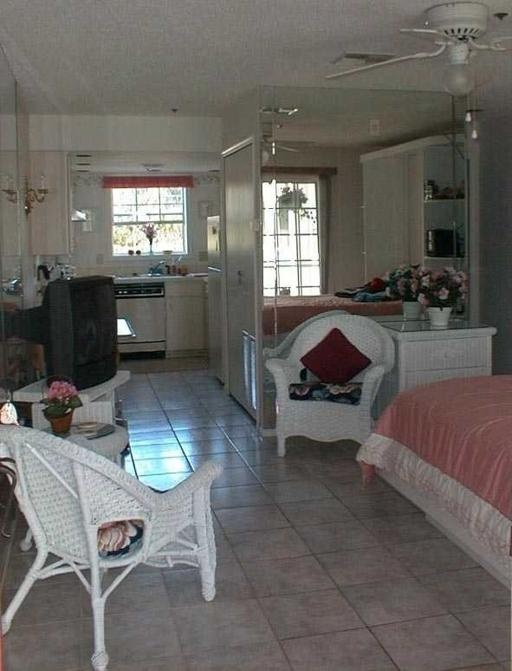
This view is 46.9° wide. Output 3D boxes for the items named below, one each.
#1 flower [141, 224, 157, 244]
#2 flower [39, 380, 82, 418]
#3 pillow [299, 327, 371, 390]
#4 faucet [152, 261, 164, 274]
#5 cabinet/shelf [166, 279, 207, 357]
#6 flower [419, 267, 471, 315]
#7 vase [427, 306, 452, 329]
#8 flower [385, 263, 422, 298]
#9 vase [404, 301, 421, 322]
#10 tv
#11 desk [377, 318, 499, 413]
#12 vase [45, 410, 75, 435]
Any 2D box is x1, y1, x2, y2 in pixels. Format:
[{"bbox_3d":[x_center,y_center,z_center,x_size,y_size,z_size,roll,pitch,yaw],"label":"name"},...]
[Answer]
[{"bbox_3d":[-1.446,-1.387,8.097,0.178,0.271,0.066,-2,6,3],"label":"flower"},{"bbox_3d":[-0.832,0.274,2.541,0.160,0.161,0.167,1,3,-7],"label":"flower"},{"bbox_3d":[0.475,0.121,3.591,0.352,0.354,0.096,-43,-16,7],"label":"pillow"},{"bbox_3d":[-1.331,-0.899,7.985,0.188,0.144,0.091,-2,4,-10],"label":"faucet"},{"bbox_3d":[-0.875,-0.226,7.412,0.514,0.984,0.228,-2,4,-7],"label":"cabinet/shelf"},{"bbox_3d":[1.174,-0.283,3.813,0.341,0.263,0.314,0,5,-1],"label":"flower"},{"bbox_3d":[1.195,-0.114,3.836,0.151,0.103,0.143,0,-2,4],"label":"vase"},{"bbox_3d":[1.009,-0.352,4.050,0.238,0.222,0.234,-10,-2,10],"label":"flower"},{"bbox_3d":[1.075,-0.169,4.050,0.122,0.088,0.126,0,1,10],"label":"vase"},{"bbox_3d":[-1.082,-0.041,3.634,0.628,0.704,0.806,-1,3,0],"label":"tv"},{"bbox_3d":[1.205,0.066,3.890,0.826,0.744,0.533,-2,14,-9],"label":"desk"},{"bbox_3d":[-0.835,0.367,2.525,0.109,0.078,0.103,-1,0,2],"label":"vase"}]
